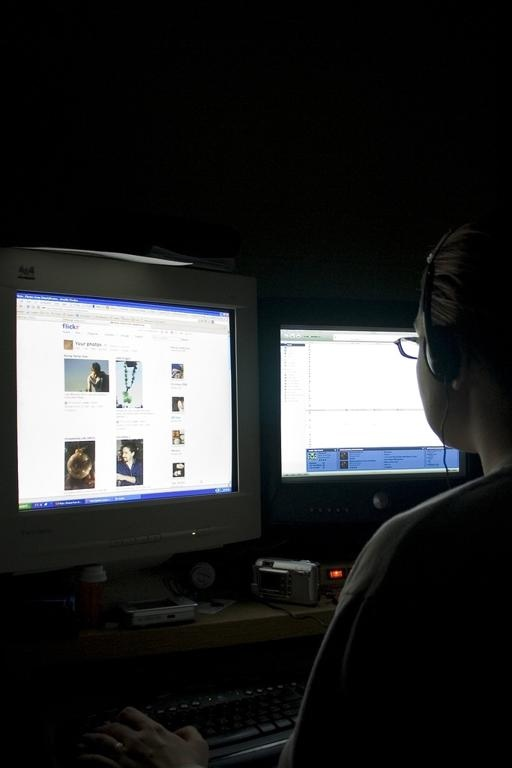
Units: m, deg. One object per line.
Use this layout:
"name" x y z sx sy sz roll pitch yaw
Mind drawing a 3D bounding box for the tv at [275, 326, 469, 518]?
"tv" 0.222 0.060 1.386 0.477 0.468 0.262 1 -2 -15

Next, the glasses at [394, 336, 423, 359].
"glasses" 0.268 -0.063 1.210 0.055 0.063 0.018 -3 7 -20

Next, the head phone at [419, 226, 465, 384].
"head phone" 0.195 -0.051 0.762 0.029 0.113 0.078 8 -14 9
